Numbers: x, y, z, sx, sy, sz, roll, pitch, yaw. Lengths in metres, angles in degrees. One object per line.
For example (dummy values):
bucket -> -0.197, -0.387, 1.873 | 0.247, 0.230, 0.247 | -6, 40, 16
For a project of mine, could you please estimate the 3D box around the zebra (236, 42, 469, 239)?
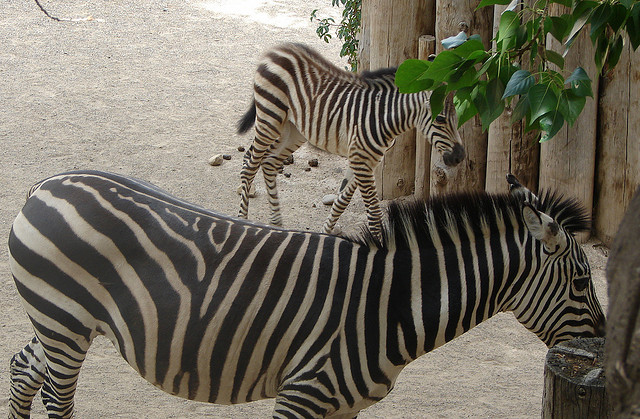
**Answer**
zebra -> 0.233, -0.603, 8.875 | 2.404, 1.799, 0.683 | 13, 13, 23

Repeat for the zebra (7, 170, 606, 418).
zebra -> -0.056, 0.703, 6.561 | 3.685, 2.443, 0.946 | 12, 7, -1
